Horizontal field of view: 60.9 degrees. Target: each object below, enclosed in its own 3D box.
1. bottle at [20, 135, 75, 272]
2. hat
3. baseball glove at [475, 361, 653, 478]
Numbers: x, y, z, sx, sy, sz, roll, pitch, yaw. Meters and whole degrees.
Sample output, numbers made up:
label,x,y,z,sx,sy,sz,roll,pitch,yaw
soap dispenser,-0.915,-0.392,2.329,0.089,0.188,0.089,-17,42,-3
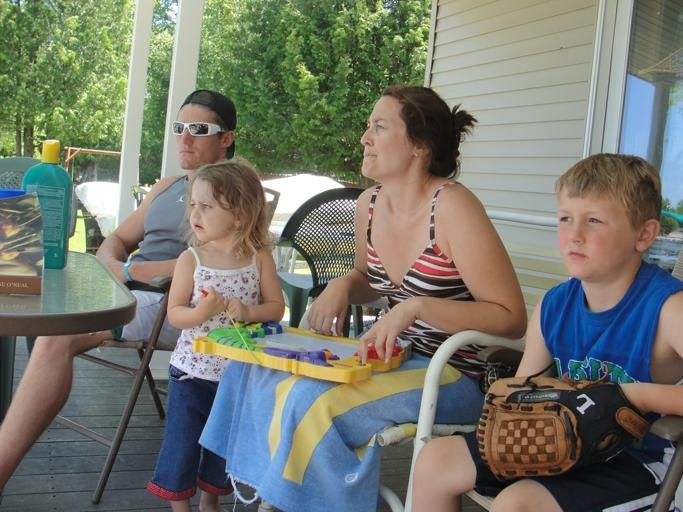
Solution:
label,x,y,z,sx,sy,sz,roll,pitch,yaw
bottle,-0.988,-0.168,1.957,0.146,0.438,0.301,-1,11,-27
hat,-0.650,-0.704,3.083,0.354,0.352,0.189,19,18,22
baseball glove,0.553,0.420,1.511,0.396,0.245,0.169,-11,8,19
